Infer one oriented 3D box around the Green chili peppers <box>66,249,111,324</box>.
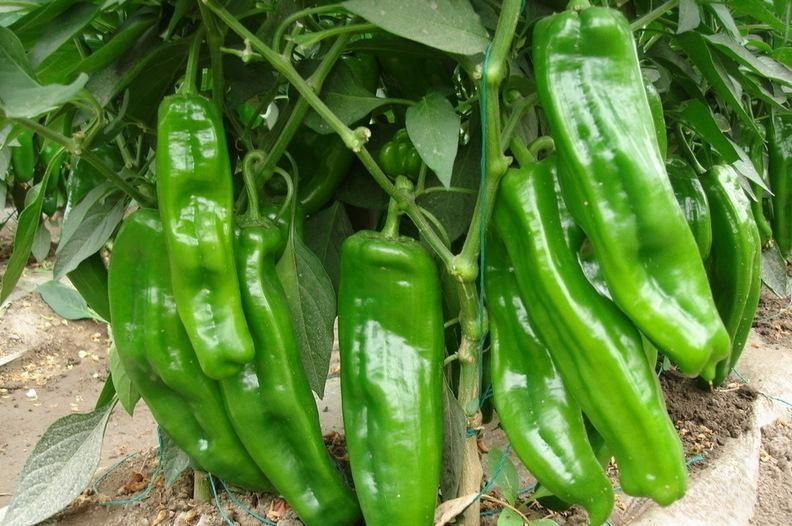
[{"bbox_3d":[-0.687,0.071,1.576,0.078,0.203,0.131,-8,26,-24],"label":"Green chili peppers"}]
